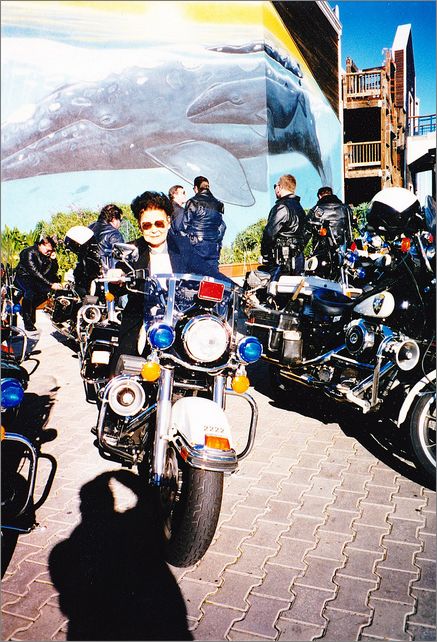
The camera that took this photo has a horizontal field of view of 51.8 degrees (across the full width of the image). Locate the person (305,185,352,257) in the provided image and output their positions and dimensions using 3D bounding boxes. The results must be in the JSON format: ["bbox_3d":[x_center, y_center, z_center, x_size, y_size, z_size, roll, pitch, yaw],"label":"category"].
[{"bbox_3d":[2.014,-1.616,8.217,0.744,1.577,0.765,-2,17,4],"label":"person"}]

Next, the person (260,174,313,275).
[{"bbox_3d":[0.987,-1.536,7.273,0.823,1.898,0.815,7,18,13],"label":"person"}]

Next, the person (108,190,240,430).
[{"bbox_3d":[-0.275,-0.114,2.790,0.577,1.253,0.748,-4,18,-34],"label":"person"}]

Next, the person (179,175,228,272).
[{"bbox_3d":[-0.290,-1.723,8.106,0.921,2.231,0.844,-1,12,-19],"label":"person"}]

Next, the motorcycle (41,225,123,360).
[{"bbox_3d":[-1.720,-0.362,6.881,1.435,1.553,2.248,8,-14,-26],"label":"motorcycle"}]

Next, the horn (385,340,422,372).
[{"bbox_3d":[1.177,0.209,2.840,0.119,0.129,0.152,-41,17,-8],"label":"horn"}]

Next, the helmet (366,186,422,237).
[{"bbox_3d":[1.165,-0.726,3.109,0.290,0.392,0.367,3,-19,6],"label":"helmet"}]
